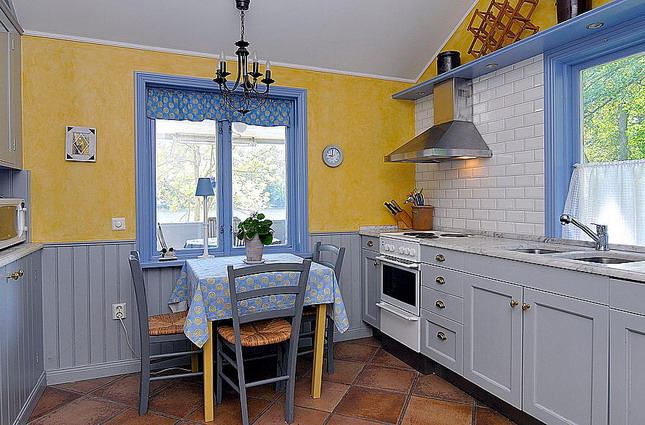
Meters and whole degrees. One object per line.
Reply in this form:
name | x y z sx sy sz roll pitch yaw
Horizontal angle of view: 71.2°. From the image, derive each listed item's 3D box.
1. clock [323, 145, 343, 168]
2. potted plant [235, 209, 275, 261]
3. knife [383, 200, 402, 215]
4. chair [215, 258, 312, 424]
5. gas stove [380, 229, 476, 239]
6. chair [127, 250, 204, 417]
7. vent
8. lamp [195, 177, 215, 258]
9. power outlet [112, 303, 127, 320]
clock | 0.108 -0.597 4.809 0.229 0.218 0.073 -4 -3 -19
potted plant | -0.623 0.209 3.997 0.410 0.503 0.393 3 -6 -17
knife | 0.776 -0.067 4.996 0.142 0.186 0.050 -36 6 -22
chair | -0.523 0.992 3.778 0.779 1.269 0.845 -3 4 -15
gas stove | 1.012 0.213 4.505 0.761 0.041 0.781 -4 3 -24
chair | -1.305 0.952 3.819 0.531 1.275 0.866 -4 4 -20
vent | 1.142 -0.903 4.410 0.697 0.796 0.676 -4 4 -23
lamp | -1.127 0.034 4.405 0.190 0.770 0.325 -4 4 -14
power outlet | -1.877 0.904 4.153 0.164 0.207 0.041 0 4 -22
